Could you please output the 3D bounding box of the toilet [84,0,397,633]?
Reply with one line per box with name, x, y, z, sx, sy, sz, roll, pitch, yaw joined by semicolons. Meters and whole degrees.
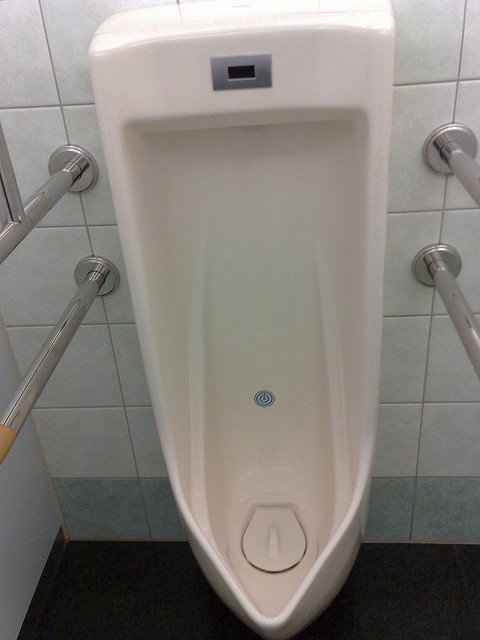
toilet;-0.009;0.016;0.764;0.448;0.771;0.487;8;40;17
